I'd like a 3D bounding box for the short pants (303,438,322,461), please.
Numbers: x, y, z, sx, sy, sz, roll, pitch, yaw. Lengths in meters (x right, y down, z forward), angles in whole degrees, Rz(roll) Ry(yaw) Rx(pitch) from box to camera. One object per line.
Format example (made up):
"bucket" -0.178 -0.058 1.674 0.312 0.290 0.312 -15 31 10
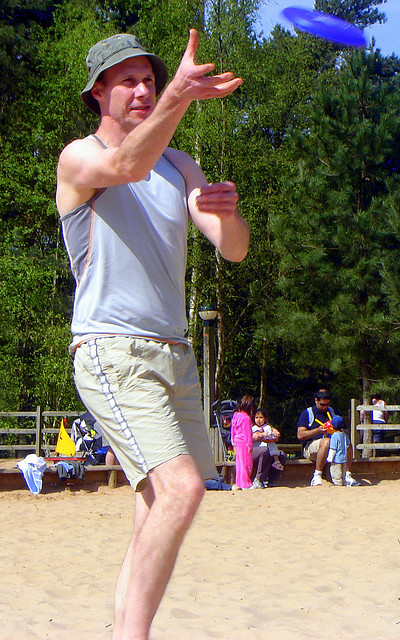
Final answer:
"short pants" 1.679 1.906 10.510 0.306 0.397 0.226 10 -9 11

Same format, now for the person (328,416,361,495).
"person" 2.140 1.953 10.560 0.448 1.021 1.926 -2 -8 11

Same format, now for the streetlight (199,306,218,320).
"streetlight" 0.133 -0.143 12.755 0.264 0.170 0.257 1 -6 -9

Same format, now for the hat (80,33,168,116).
"hat" -0.257 -0.811 2.256 0.264 0.150 0.276 -17 -22 -18

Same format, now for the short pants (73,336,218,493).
"short pants" -0.144 0.275 2.048 0.423 0.447 0.366 1 -8 -16

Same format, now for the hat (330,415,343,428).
"hat" 1.983 1.473 10.262 0.161 0.162 0.346 -2 -8 8
